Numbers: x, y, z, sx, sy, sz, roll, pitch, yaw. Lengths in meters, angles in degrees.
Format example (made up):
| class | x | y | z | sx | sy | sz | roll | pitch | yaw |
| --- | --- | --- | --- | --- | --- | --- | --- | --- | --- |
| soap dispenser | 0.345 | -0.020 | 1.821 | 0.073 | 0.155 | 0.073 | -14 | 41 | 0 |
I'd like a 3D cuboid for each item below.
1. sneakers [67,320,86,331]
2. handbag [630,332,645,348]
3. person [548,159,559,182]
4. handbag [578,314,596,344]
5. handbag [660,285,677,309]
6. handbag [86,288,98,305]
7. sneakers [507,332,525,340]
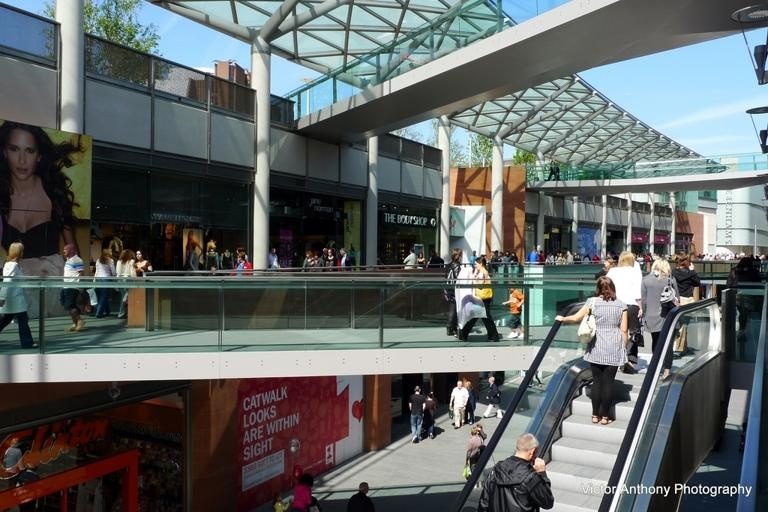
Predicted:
| class | x | y | z | sx | sy | sz | roll | pitch | yaw |
| --- | --- | --- | --- | --- | --- | --- | --- | --- | --- |
| sneakers | -6.657 | 1.509 | 13.931 | 0.395 | 0.179 | 0.152 | -11 | 2 | 2 |
| handbag | 5.197 | 1.714 | 13.163 | 0.236 | 0.199 | 0.403 | -1 | 0 | -5 |
| person | 11.350 | -5.506 | 42.820 | 0.969 | 0.893 | 0.394 | -2 | 1 | -44 |
| handbag | 3.770 | 1.341 | 11.841 | 0.217 | 0.517 | 0.399 | 9 | -18 | 0 |
| handbag | 6.013 | 0.854 | 13.480 | 0.594 | 0.466 | 0.174 | -2 | 1 | -34 |
| handbag | -6.310 | 0.896 | 13.834 | 0.104 | 0.327 | 0.233 | -3 | 5 | -1 |
| sneakers | 3.162 | 1.909 | 15.399 | 0.406 | 0.184 | 0.157 | 2 | -1 | 4 |
